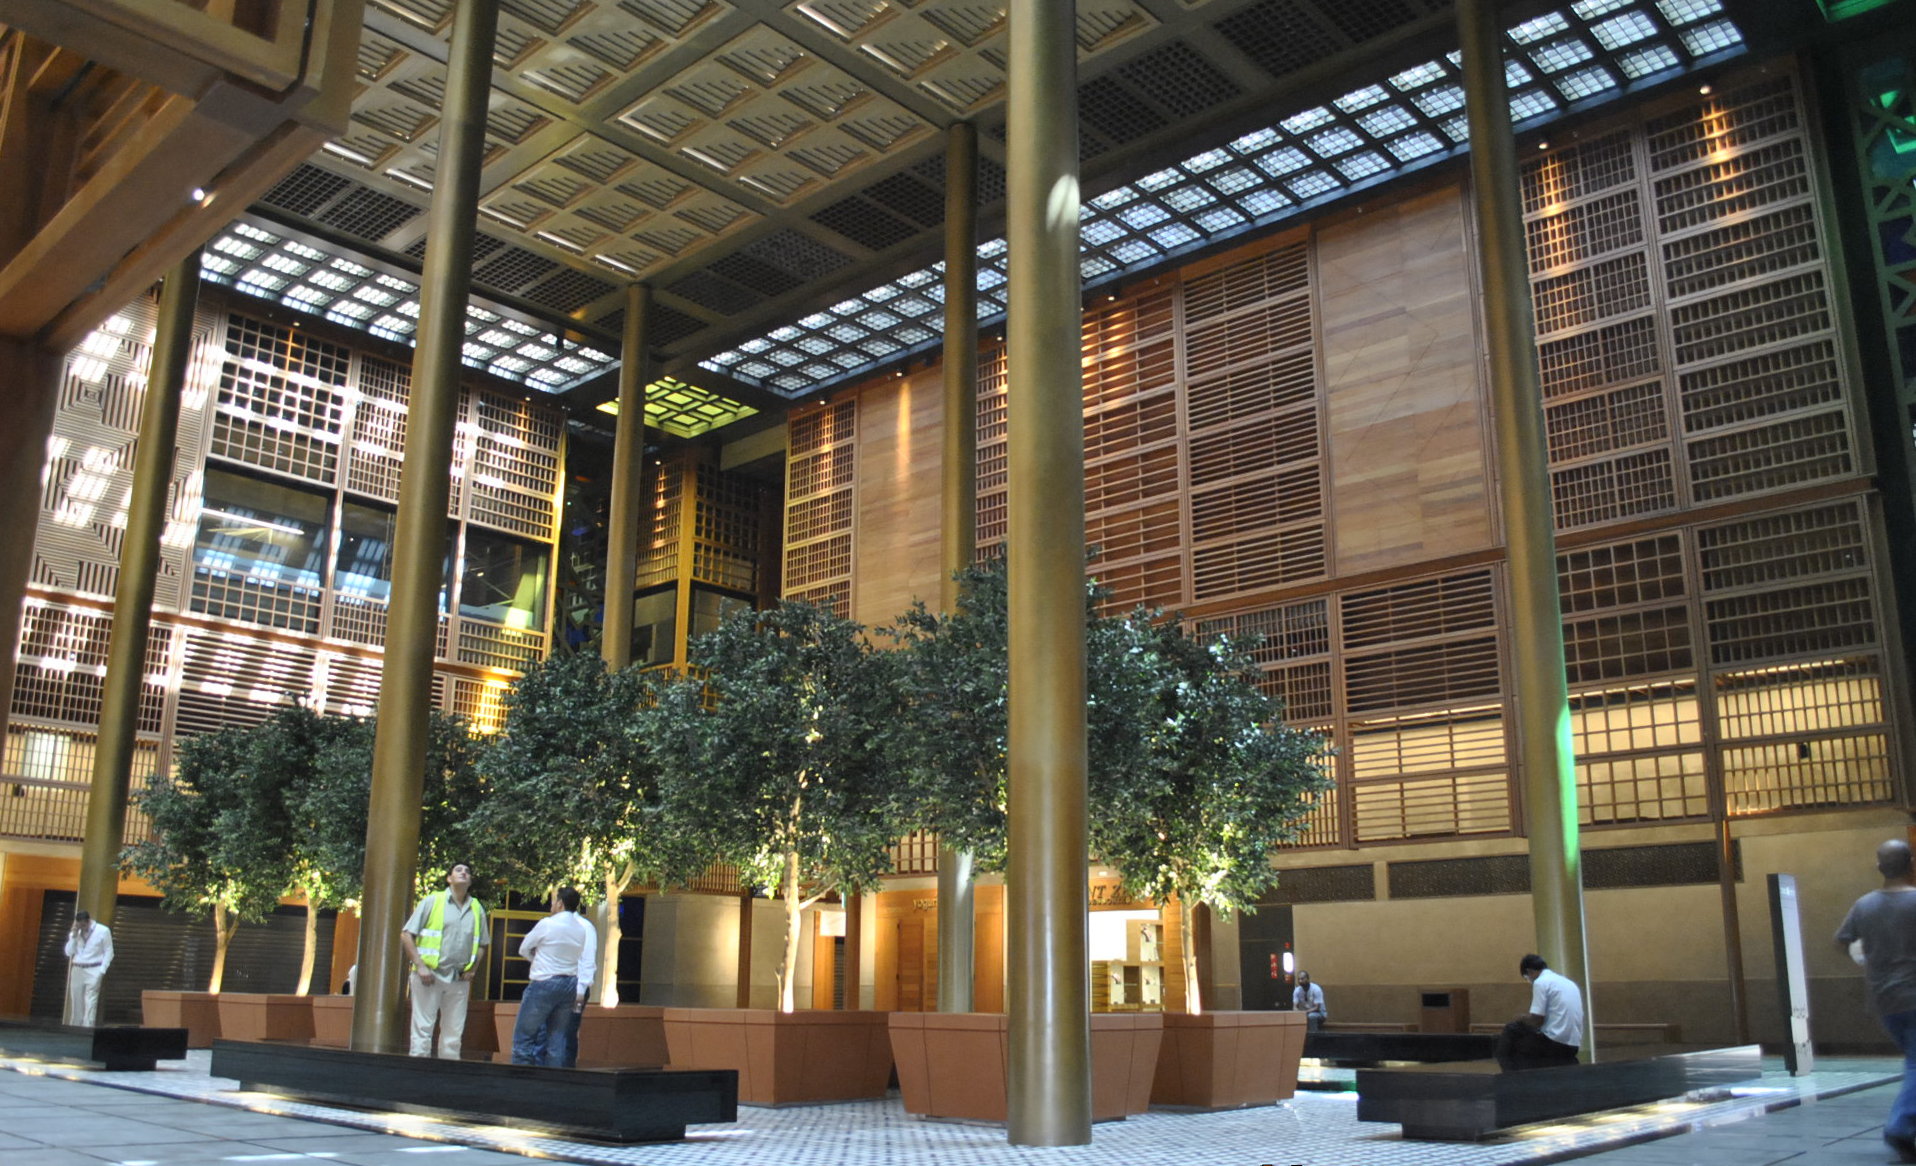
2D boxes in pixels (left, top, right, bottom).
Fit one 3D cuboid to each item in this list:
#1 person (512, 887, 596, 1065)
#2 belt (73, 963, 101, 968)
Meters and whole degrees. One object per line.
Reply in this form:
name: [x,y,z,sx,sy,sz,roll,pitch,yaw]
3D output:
person: [-4.782,4.666,17.636,0.847,2.060,1.236,5,-22,-14]
belt: [-13.764,6.032,23.508,0.312,0.112,0.097,13,-25,-34]
